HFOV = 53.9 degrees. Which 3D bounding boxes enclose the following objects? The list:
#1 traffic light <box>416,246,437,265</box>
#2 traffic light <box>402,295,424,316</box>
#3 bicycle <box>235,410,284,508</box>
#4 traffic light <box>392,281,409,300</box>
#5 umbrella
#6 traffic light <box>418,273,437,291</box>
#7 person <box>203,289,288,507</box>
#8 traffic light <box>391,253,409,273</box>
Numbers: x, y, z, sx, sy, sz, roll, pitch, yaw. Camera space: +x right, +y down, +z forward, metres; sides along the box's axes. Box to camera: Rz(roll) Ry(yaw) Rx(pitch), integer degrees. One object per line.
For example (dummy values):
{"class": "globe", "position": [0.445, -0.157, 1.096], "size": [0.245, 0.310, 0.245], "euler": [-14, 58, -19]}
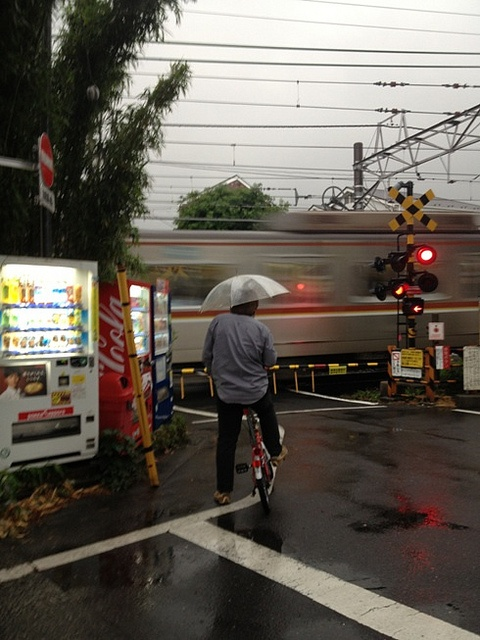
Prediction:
{"class": "traffic light", "position": [3.621, -1.278, 9.196], "size": [0.340, 0.373, 0.262], "euler": [-2, -3, 17]}
{"class": "traffic light", "position": [3.508, -0.273, 9.570], "size": [0.407, 0.394, 0.364], "euler": [-2, -3, 15]}
{"class": "bicycle", "position": [0.178, 1.126, 4.014], "size": [0.342, 0.598, 0.828], "euler": [-10, 10, 7]}
{"class": "traffic light", "position": [3.260, -0.619, 9.550], "size": [0.214, 0.410, 0.111], "euler": [6, 8, 22]}
{"class": "umbrella", "position": [-0.033, -0.391, 6.898], "size": [0.694, 0.322, 0.732], "euler": [-11, 14, 44]}
{"class": "traffic light", "position": [3.830, -0.788, 9.705], "size": [0.480, 0.398, 0.183], "euler": [0, -3, -22]}
{"class": "person", "position": [0.027, 0.574, 4.011], "size": [0.690, 1.959, 0.473], "euler": [0, -2, -8]}
{"class": "traffic light", "position": [3.244, -1.193, 9.630], "size": [0.339, 0.414, 0.243], "euler": [-2, -3, 17]}
